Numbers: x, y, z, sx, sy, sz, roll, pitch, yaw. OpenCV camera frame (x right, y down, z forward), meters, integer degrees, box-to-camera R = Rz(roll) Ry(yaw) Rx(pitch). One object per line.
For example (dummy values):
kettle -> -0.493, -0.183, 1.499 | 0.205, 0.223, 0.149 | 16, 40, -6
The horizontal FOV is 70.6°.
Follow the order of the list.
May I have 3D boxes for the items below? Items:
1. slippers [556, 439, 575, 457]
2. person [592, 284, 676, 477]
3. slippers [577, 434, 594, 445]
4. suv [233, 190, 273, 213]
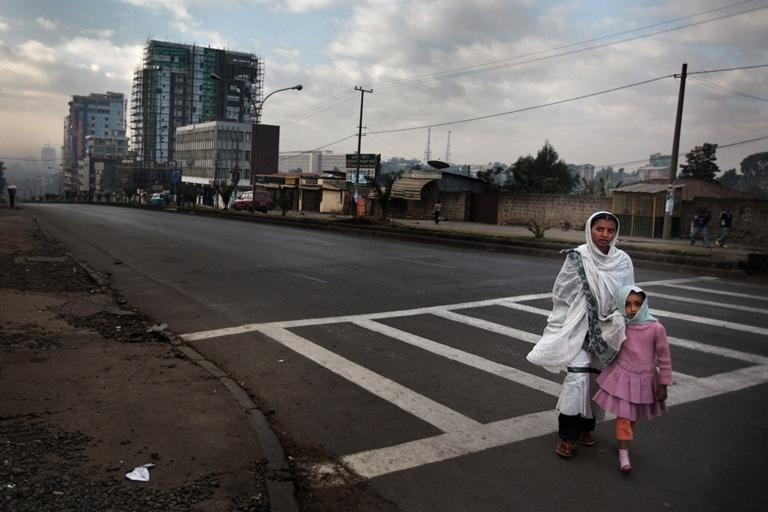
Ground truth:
slippers -> 1.901, 2.023, 5.671 | 0.115, 0.107, 0.255 | 4, -17, 6
person -> 2.512, 1.229, 5.481 | 0.674, 1.817, 0.515 | 8, 13, 29
slippers -> 2.202, 2.002, 5.981 | 0.096, 0.108, 0.259 | 1, -9, -13
suv -> -13.435, -5.604, 56.117 | 2.340, 1.727, 4.239 | -1, 8, -38
